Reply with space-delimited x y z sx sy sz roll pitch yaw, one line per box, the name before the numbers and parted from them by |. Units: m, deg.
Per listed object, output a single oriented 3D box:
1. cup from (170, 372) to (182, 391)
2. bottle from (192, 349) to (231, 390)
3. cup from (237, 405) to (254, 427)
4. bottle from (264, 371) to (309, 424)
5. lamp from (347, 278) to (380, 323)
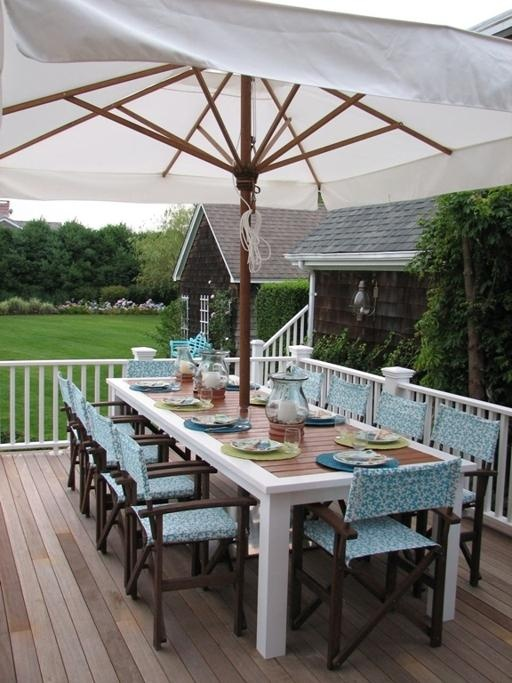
cup | -0.633 0.315 4.416 0.125 0.187 0.117 0 -4 0
bottle | -0.336 0.193 3.940 0.271 0.345 0.268 2 3 0
cup | -0.067 0.433 3.274 0.094 0.137 0.091 -2 -3 0
bottle | 0.162 0.310 3.125 0.262 0.270 0.259 0 3 -1
lamp | 1.531 -0.635 7.962 0.358 0.644 0.258 3 7 8
